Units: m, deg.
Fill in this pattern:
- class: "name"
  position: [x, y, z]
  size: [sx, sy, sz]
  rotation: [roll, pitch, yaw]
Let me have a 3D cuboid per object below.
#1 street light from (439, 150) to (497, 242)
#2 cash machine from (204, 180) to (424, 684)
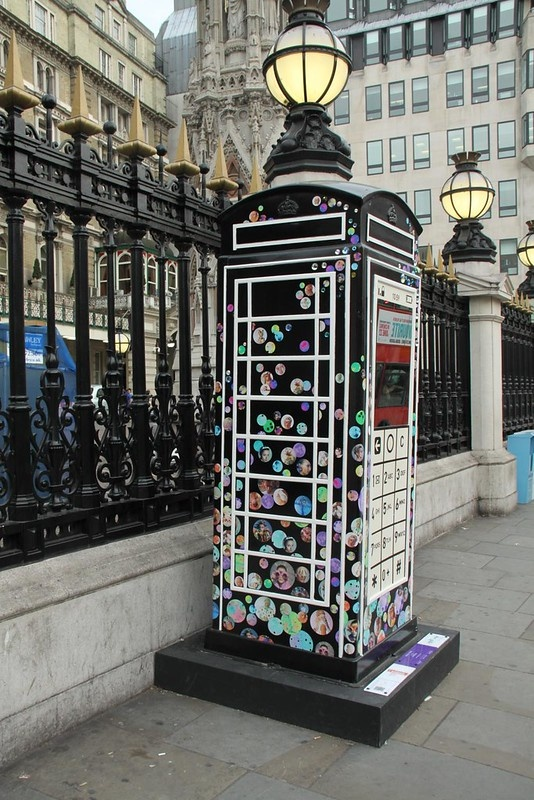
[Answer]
- class: "street light"
  position: [2.182, -2.236, 9.517]
  size: [0.697, 0.971, 0.740]
  rotation: [0, -3, 6]
- class: "cash machine"
  position: [0.196, 0.102, 4.415]
  size: [0.922, 2.296, 0.793]
  rotation: [1, 2, 31]
